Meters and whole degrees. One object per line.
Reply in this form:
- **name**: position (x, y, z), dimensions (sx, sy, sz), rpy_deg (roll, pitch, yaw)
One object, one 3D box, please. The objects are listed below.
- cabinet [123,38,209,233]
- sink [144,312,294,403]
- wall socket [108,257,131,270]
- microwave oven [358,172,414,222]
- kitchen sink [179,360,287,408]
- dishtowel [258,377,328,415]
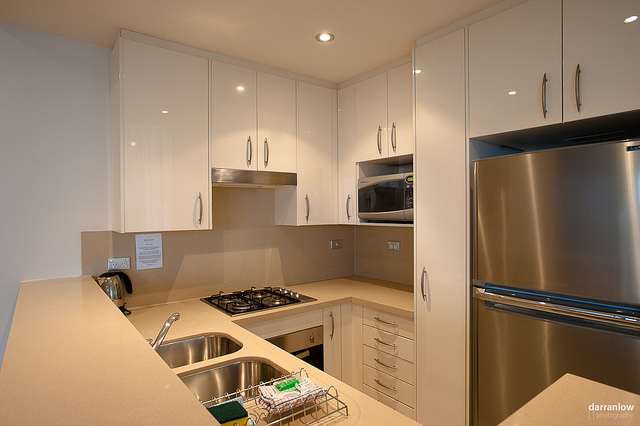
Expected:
- **cabinet**: position (-1.090, -0.510, 3.179), dimensions (0.632, 1.163, 0.400), rpy_deg (1, 4, -35)
- **sink**: position (-0.600, 0.758, 2.671), dimensions (0.488, 0.552, 0.779), rpy_deg (-2, 2, -45)
- **wall socket**: position (-1.449, 0.374, 3.260), dimensions (0.150, 0.087, 0.016), rpy_deg (-1, 2, -28)
- **microwave oven**: position (0.517, -0.114, 3.472), dimensions (0.327, 0.353, 0.550), rpy_deg (2, -2, -36)
- **kitchen sink**: position (-0.503, 0.854, 2.473), dimensions (0.467, 0.163, 0.312), rpy_deg (-1, -3, -34)
- **dishtowel**: position (-0.146, 0.903, 2.200), dimensions (0.307, 0.085, 0.299), rpy_deg (-5, 1, -9)
